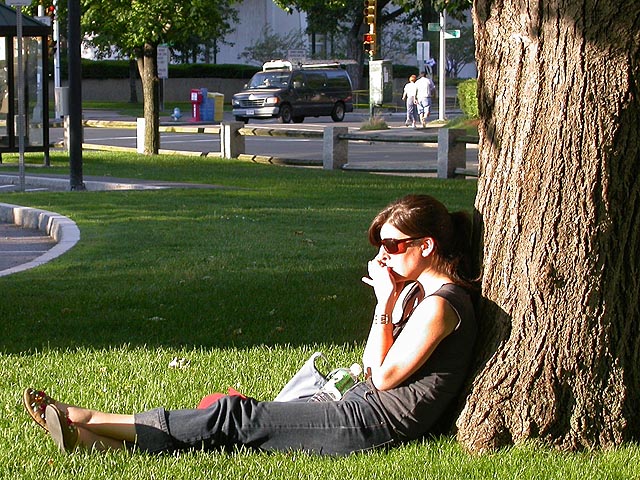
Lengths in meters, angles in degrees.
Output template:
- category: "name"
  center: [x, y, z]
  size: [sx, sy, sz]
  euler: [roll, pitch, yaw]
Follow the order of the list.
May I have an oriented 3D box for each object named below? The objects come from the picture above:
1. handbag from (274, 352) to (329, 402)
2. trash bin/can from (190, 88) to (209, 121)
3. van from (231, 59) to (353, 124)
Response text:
- category: "handbag"
  center: [-0.104, 0.868, 7.490]
  size: [0.355, 0.226, 0.147]
  euler: [-37, -16, 2]
- category: "trash bin/can"
  center: [-4.329, -4.886, 44.111]
  size: [0.547, 1.190, 1.688]
  euler: [-1, 10, -6]
- category: "van"
  center: [-0.877, -4.748, 40.013]
  size: [2.254, 2.331, 3.917]
  euler: [2, 3, 43]
